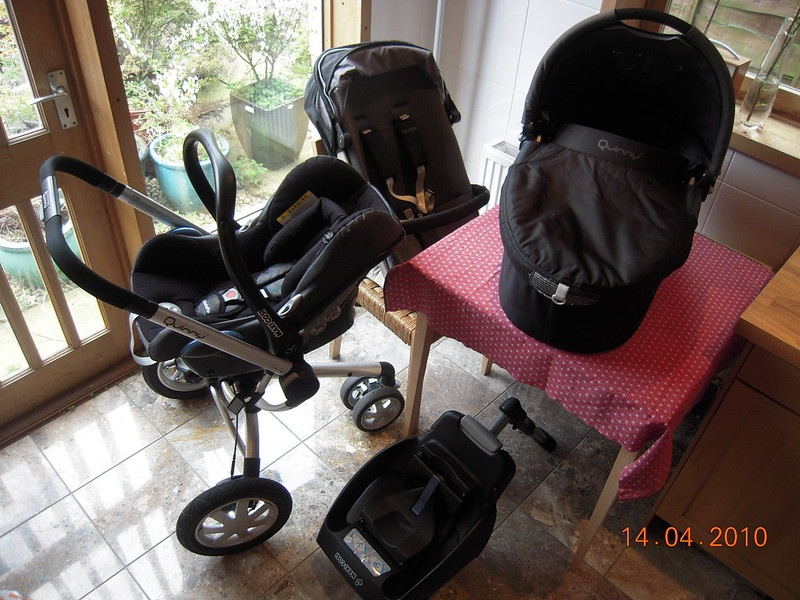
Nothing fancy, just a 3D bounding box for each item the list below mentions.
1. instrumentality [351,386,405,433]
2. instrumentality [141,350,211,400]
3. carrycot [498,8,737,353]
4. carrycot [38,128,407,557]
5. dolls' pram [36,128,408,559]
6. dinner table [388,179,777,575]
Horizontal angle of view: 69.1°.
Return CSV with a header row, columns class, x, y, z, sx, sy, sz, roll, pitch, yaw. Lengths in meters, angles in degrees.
class,x,y,z,sx,sy,sz,roll,pitch,yaw
instrumentality,-0.102,0.460,2.462,0.165,0.168,0.052,24,22,-44
instrumentality,-1.007,0.371,2.584,0.281,0.097,0.290,21,-9,-15
carrycot,0.729,-0.367,1.881,0.646,0.771,0.899,27,72,18
carrycot,-0.519,0.086,2.102,1.038,1.382,0.797,-22,43,-27
dolls' pram,-0.596,0.093,2.082,1.022,1.425,1.000,13,38,10
dinner table,0.667,0.301,2.346,1.115,0.602,1.143,36,63,19
